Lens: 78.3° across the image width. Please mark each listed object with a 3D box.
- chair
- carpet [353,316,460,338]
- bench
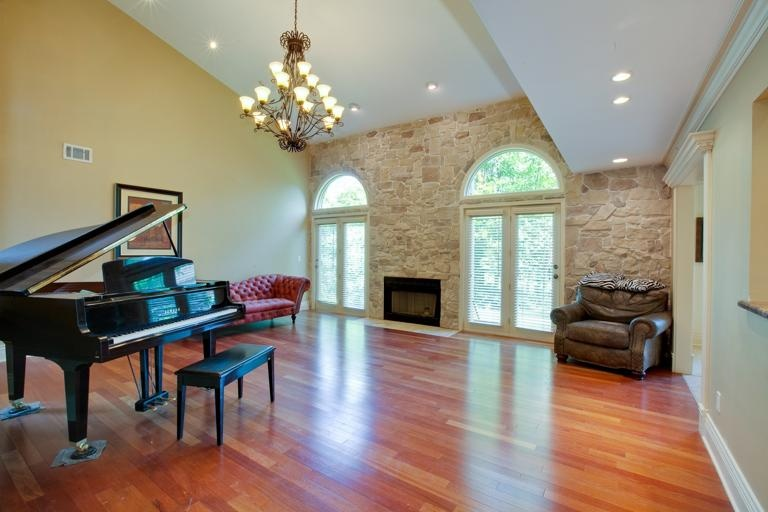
[{"bbox_3d":[3.023,0.924,6.287,1.410,1.004,0.963,5,9,30],"label":"chair"},{"bbox_3d":[0.392,1.209,8.042,1.839,0.052,0.622,5,9,32],"label":"carpet"},{"bbox_3d":[-1.631,1.387,4.987,0.539,0.667,1.078,2,5,14],"label":"bench"}]
